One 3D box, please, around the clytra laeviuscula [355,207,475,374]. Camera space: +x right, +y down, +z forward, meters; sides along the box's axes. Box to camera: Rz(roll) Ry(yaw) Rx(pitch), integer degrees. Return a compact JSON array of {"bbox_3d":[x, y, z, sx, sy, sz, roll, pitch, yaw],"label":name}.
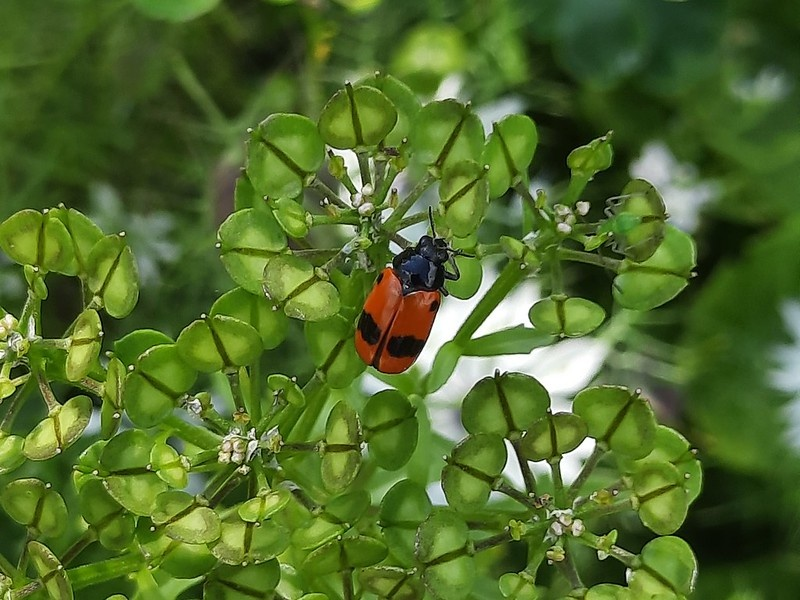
[{"bbox_3d":[0.022,0.002,1.267,0.115,0.075,0.227,24,89,0],"label":"clytra laeviuscula"}]
